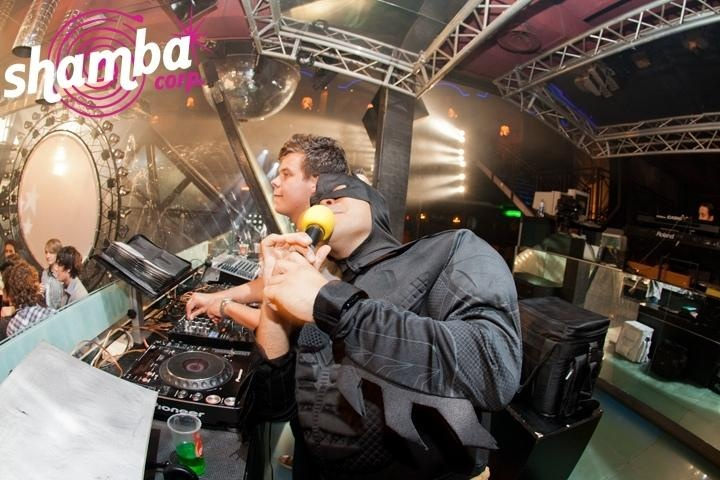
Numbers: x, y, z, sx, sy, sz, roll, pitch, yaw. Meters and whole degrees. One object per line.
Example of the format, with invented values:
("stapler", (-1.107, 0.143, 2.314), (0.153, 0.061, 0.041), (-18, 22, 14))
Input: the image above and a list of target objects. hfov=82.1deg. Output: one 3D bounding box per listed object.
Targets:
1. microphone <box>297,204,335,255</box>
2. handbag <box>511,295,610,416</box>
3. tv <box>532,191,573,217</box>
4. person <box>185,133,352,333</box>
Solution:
("microphone", (-0.162, -0.040, 1.878), (0.170, 0.177, 0.285), (4, 33, 3))
("handbag", (1.313, 0.762, 2.800), (0.519, 0.598, 0.621), (4, 11, -6))
("tv", (3.229, -0.606, 7.026), (0.570, 0.424, 0.243), (8, 3, 26))
("person", (-0.613, -0.045, 2.701), (0.814, 1.291, 0.398), (23, -2, -15))
